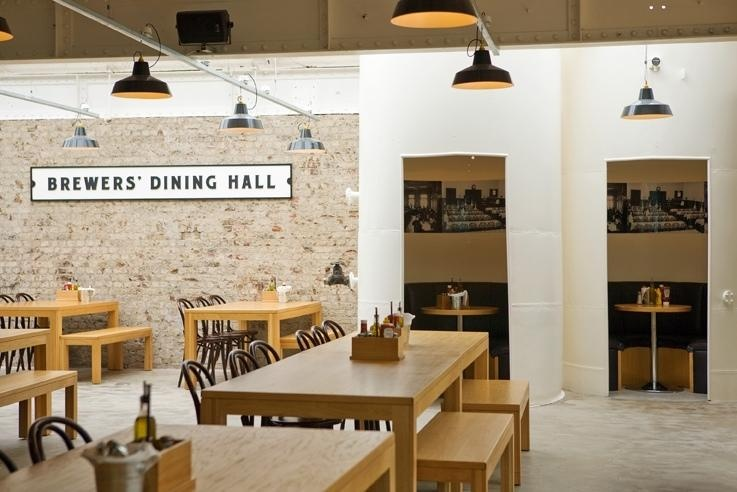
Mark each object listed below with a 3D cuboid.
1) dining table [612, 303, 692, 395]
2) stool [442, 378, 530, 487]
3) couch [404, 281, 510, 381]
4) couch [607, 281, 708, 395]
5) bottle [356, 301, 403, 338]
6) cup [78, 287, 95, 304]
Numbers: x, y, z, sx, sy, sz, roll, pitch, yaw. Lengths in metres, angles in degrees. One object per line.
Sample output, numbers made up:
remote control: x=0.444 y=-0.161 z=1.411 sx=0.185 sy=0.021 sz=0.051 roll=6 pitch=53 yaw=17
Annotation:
dining table: x=4.031 y=1.472 z=10.724 sx=1.114 sy=1.181 sz=1.104 roll=-4 pitch=-10 yaw=38
stool: x=1.244 y=2.071 z=7.664 sx=0.750 sy=0.821 sz=1.376 roll=0 pitch=0 yaw=11
couch: x=1.256 y=1.123 z=10.715 sx=1.527 sy=1.381 sz=1.227 roll=-2 pitch=-7 yaw=11
couch: x=4.419 y=1.246 z=10.971 sx=1.834 sy=1.746 sz=1.464 roll=-1 pitch=-7 yaw=16
bottle: x=0.134 y=0.731 z=7.032 sx=0.463 sy=0.281 sz=0.459 roll=0 pitch=-1 yaw=0
cup: x=-4.371 y=0.757 z=11.725 sx=0.200 sy=0.246 sz=0.370 roll=0 pitch=-1 yaw=4
